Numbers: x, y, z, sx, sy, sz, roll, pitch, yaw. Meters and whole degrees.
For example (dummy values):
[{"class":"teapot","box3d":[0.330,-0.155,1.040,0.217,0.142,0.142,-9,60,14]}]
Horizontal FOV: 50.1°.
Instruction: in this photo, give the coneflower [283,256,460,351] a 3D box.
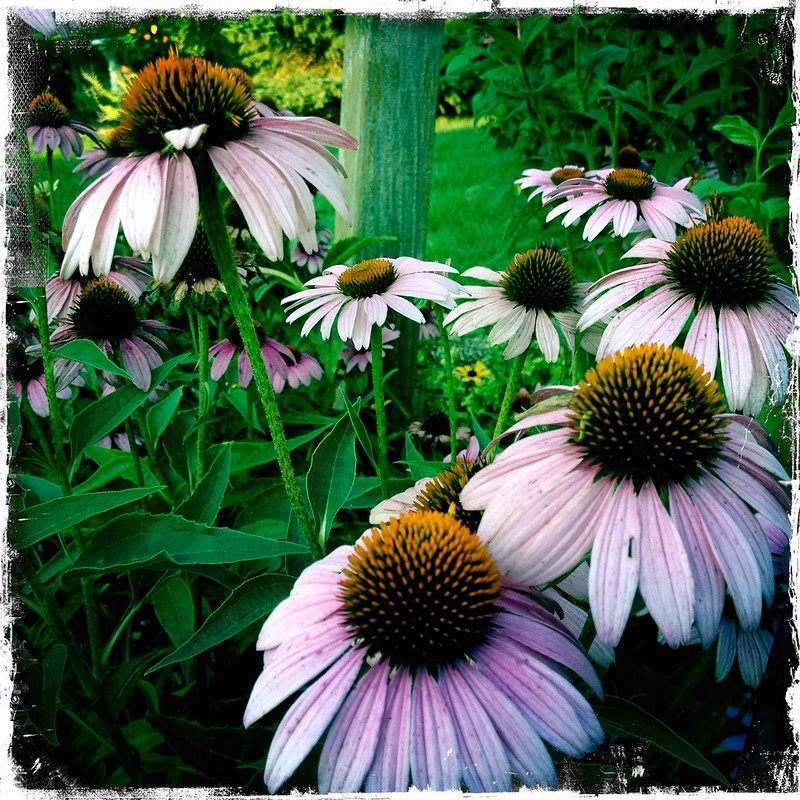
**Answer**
[{"class":"coneflower","box3d":[-0.076,-0.305,2.451,0.515,0.168,0.521,-17,-3,32]}]

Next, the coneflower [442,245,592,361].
[{"class":"coneflower","box3d":[0.368,-0.304,2.532,0.477,0.297,0.521,-4,5,-8]}]

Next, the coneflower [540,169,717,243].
[{"class":"coneflower","box3d":[0.689,-0.595,2.640,0.323,0.111,0.354,-13,34,-8]}]

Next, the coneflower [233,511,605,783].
[{"class":"coneflower","box3d":[0.043,0.462,1.429,0.430,0.262,0.506,14,38,14]}]

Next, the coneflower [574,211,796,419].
[{"class":"coneflower","box3d":[0.712,-0.120,2.136,0.451,0.309,0.491,-11,48,-32]}]
